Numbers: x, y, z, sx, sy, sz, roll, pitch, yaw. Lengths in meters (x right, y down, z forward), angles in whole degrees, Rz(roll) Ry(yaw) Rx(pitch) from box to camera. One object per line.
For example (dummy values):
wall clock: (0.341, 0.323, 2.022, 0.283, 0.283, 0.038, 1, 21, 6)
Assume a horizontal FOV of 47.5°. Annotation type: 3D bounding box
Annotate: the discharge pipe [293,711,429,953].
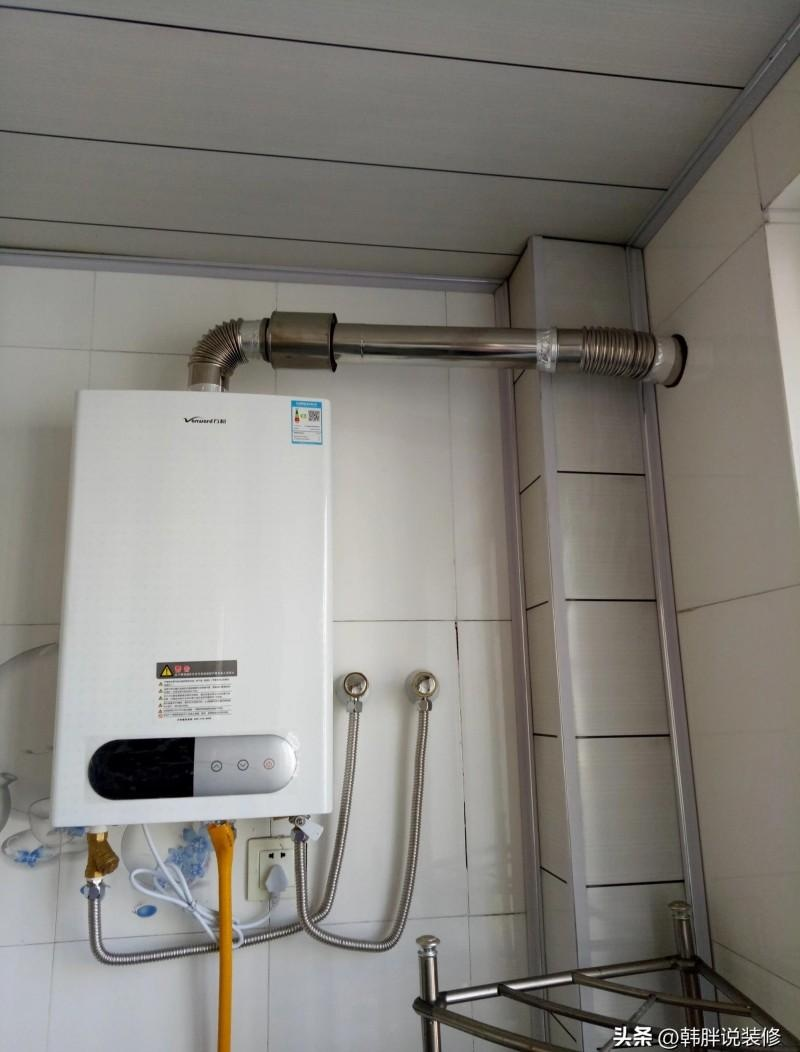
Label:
discharge pipe: (-0.068, 0.522, 1.504, 0.238, 0.404, 0.048, 3, -24, 1)
